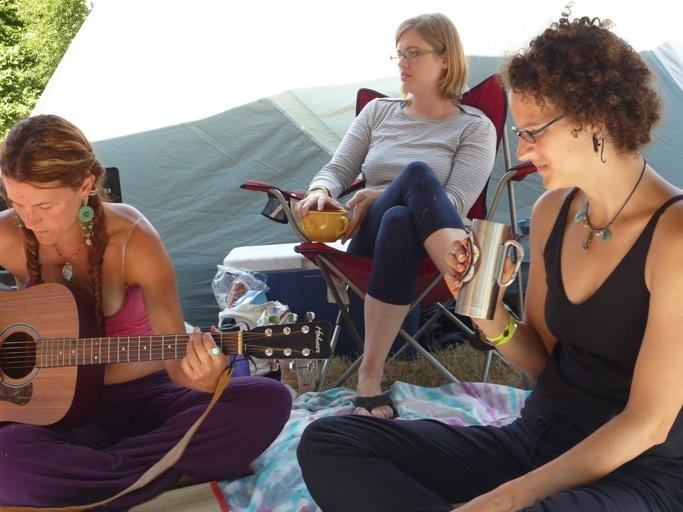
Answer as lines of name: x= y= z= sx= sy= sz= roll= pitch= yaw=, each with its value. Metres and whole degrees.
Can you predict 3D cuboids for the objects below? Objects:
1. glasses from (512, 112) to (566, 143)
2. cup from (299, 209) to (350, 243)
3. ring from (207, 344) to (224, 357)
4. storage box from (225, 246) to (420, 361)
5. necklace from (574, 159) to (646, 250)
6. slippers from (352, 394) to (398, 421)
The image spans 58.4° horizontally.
glasses: x=0.462 y=-0.288 z=1.412 sx=0.078 sy=0.022 sz=0.064 roll=-27 pitch=8 yaw=-12
cup: x=-0.071 y=-0.125 z=2.563 sx=0.181 sy=0.078 sz=0.145 roll=3 pitch=3 yaw=30
ring: x=-0.351 y=0.261 z=1.686 sx=0.037 sy=0.033 sz=0.017 roll=-5 pitch=13 yaw=-20
storage box: x=-0.195 y=0.126 z=3.220 sx=1.120 sy=0.615 sz=0.559 roll=2 pitch=-1 yaw=2
necklace: x=0.640 y=-0.117 z=1.450 sx=0.018 sy=0.202 sz=0.131 roll=14 pitch=32 yaw=-26
slippers: x=0.125 y=0.536 z=2.169 sx=0.142 sy=0.046 sz=0.081 roll=-3 pitch=-6 yaw=32
